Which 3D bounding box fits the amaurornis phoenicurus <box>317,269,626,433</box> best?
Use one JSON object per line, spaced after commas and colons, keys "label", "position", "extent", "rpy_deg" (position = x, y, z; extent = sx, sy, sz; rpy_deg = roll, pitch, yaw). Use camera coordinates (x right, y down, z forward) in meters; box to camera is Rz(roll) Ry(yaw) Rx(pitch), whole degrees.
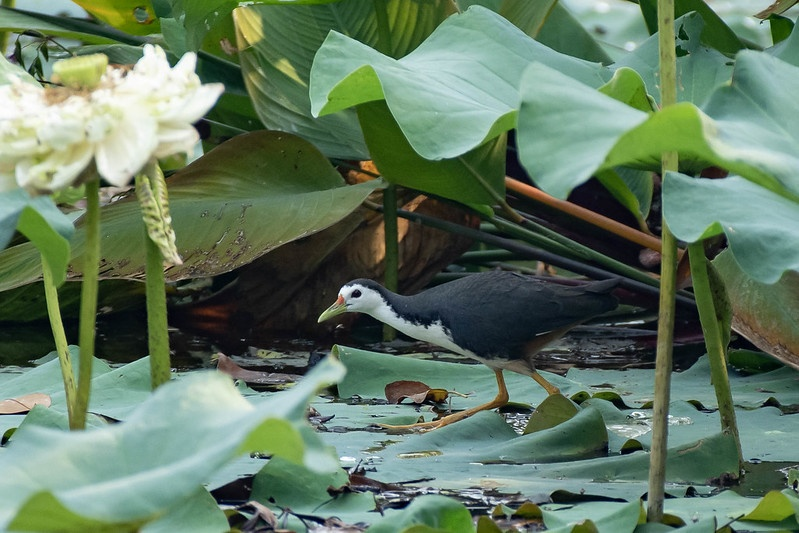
{"label": "amaurornis phoenicurus", "position": [0.171, 0.183, 2.744], "extent": [0.760, 0.318, 0.568], "rpy_deg": [3, 6, 8]}
